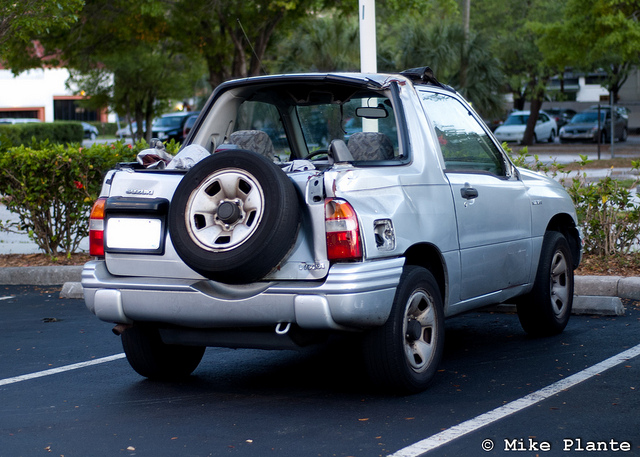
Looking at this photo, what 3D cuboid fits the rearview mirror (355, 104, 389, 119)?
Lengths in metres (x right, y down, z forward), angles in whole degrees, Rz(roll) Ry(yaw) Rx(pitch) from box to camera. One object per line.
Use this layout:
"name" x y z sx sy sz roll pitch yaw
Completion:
"rearview mirror" 0.484 -1.084 5.825 0.036 0.121 0.352 -15 14 -39

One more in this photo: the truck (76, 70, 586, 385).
"truck" 0.551 -0.113 6.025 5.271 2.689 2.350 -5 7 -36

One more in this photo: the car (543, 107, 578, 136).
"car" 18.280 -8.095 48.617 2.126 1.835 4.780 4 14 40

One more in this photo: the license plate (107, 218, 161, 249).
"license plate" -1.441 0.021 4.829 0.334 0.260 0.332 -3 10 -36
